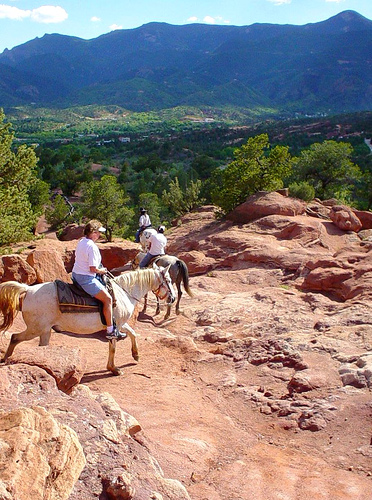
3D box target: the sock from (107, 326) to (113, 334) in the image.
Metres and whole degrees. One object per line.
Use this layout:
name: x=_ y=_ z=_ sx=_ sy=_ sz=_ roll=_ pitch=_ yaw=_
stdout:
sock: x=-1.378 y=1.435 z=7.551 sx=0.116 sy=0.098 sz=0.104 roll=1 pitch=1 yaw=-3

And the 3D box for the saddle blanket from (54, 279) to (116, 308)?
saddle blanket: x=-1.947 y=0.802 z=7.366 sx=0.773 sy=0.477 sz=0.323 roll=1 pitch=9 yaw=-12

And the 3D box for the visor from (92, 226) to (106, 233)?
visor: x=-1.481 y=-0.376 z=7.117 sx=0.207 sy=0.050 sz=0.113 roll=-18 pitch=11 yaw=5

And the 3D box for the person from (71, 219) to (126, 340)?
person: x=-1.586 y=0.596 z=7.419 sx=0.862 sy=2.250 sz=0.509 roll=1 pitch=10 yaw=-15
